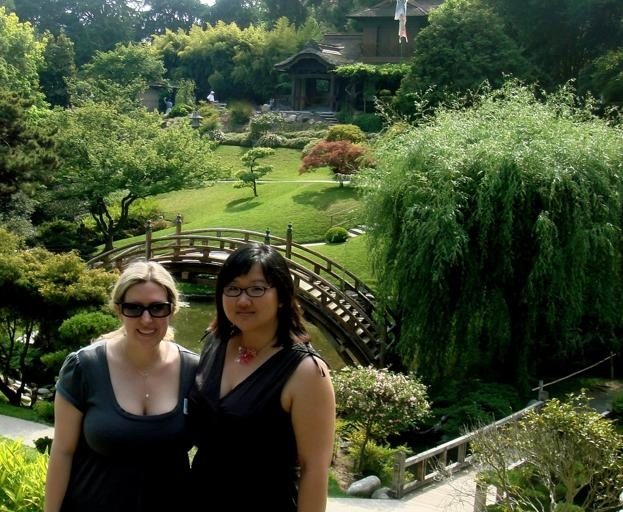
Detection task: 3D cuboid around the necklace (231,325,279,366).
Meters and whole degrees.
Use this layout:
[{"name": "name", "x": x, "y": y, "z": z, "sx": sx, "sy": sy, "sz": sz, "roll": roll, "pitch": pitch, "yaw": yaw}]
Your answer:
[{"name": "necklace", "x": -0.324, "y": 0.555, "z": 3.293, "sx": 0.227, "sy": 0.131, "sz": 0.081, "roll": -23, "pitch": -12, "yaw": 7}]
